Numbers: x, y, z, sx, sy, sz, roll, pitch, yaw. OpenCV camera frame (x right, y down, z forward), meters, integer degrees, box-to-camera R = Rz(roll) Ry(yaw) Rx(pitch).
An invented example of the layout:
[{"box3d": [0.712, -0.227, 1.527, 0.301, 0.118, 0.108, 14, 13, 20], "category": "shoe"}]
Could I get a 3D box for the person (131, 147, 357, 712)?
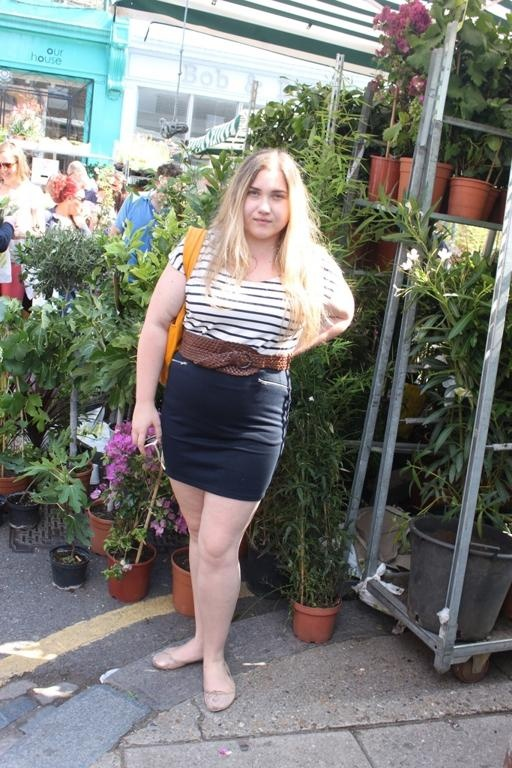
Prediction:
[{"box3d": [-0.074, 0.152, 1.679, 0.555, 1.566, 0.381, 8, 6, 8], "category": "person"}]
